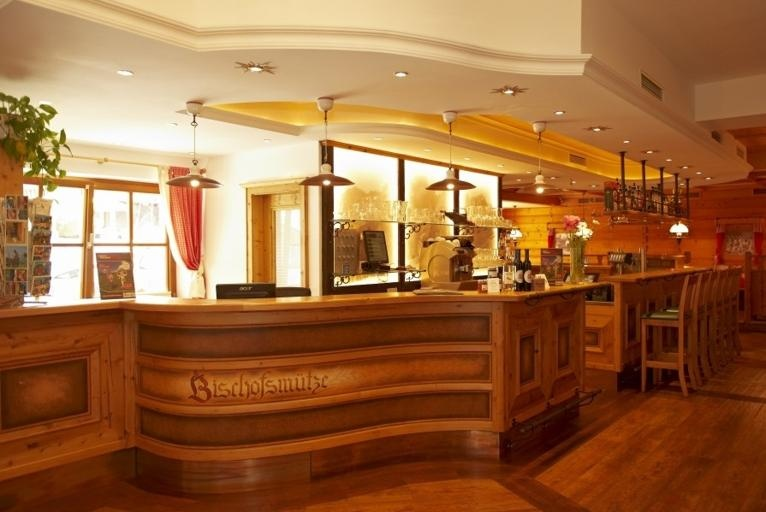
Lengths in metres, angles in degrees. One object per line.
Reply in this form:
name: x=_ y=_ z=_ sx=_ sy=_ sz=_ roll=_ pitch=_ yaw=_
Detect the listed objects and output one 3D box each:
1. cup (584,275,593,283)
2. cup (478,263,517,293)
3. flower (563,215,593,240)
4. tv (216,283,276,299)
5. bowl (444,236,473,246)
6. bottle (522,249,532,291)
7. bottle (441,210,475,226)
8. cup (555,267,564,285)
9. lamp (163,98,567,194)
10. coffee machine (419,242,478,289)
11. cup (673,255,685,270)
cup: x=2.924 y=0.333 z=7.860 sx=0.098 sy=0.084 sz=0.174 roll=-2 pitch=-3 yaw=26
cup: x=1.133 y=0.240 z=5.744 sx=0.408 sy=0.339 sz=0.262 roll=1 pitch=0 yaw=23
flower: x=2.565 y=-0.378 z=7.273 sx=0.306 sy=0.289 sz=0.596 roll=4 pitch=9 yaw=23
tv: x=-1.414 y=0.360 z=5.555 sx=0.566 sy=0.137 sz=0.258 roll=-2 pitch=8 yaw=-13
bowl: x=0.969 y=-0.189 z=7.155 sx=0.273 sy=0.064 sz=0.263 roll=-1 pitch=1 yaw=0
bottle: x=1.560 y=0.126 z=5.946 sx=0.101 sy=0.417 sz=0.480 roll=2 pitch=8 yaw=15
bottle: x=1.065 y=-0.533 z=7.974 sx=0.612 sy=0.177 sz=0.165 roll=10 pitch=-16 yaw=-32
cup: x=2.044 y=0.242 z=6.450 sx=0.105 sy=0.165 sz=0.141 roll=1 pitch=8 yaw=3
lamp: x=-0.649 y=-1.412 z=7.303 sx=3.943 sy=1.122 sz=2.628 roll=-1 pitch=8 yaw=-9
coffee machine: x=0.737 y=0.109 z=6.664 sx=0.570 sy=0.647 sz=0.786 roll=-3 pitch=-2 yaw=26
cup: x=5.975 y=0.139 z=11.132 sx=0.276 sy=0.229 sz=0.265 roll=0 pitch=3 yaw=0
